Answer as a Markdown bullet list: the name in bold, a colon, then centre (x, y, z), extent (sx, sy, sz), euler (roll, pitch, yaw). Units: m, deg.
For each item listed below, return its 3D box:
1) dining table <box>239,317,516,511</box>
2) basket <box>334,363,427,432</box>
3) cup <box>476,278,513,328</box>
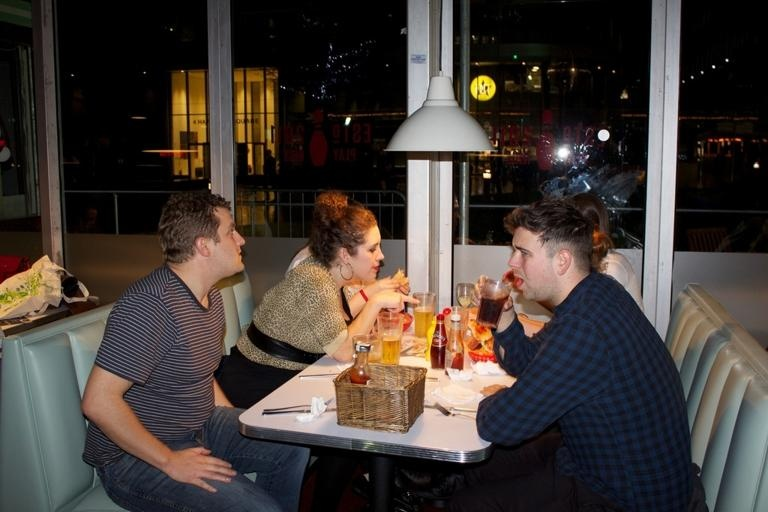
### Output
- **dining table**: centre (-0.014, 0.441, 2.397), extent (0.766, 0.799, 0.795), euler (2, 9, 14)
- **basket**: centre (-0.017, 0.569, 2.219), extent (0.323, 0.182, 0.271), euler (0, -1, 21)
- **cup**: centre (0.486, 0.198, 2.459), extent (0.139, 0.212, 0.136), euler (8, 7, -1)
